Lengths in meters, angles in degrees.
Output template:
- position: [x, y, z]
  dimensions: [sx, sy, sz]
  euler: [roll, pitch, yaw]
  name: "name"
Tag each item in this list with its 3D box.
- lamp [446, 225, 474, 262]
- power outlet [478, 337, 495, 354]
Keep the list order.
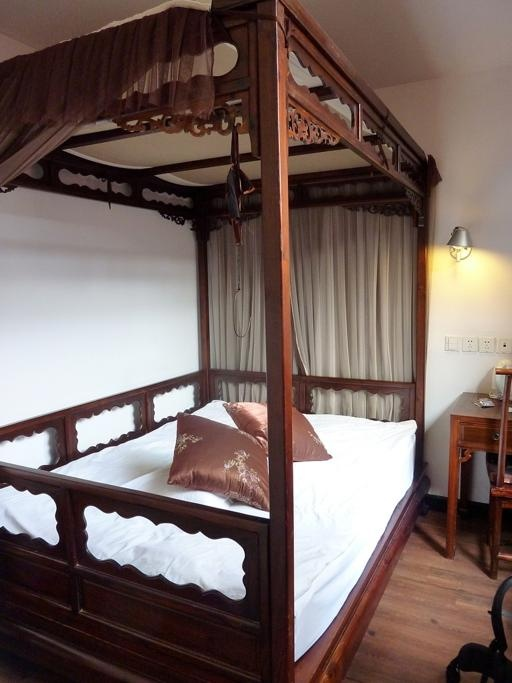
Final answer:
- position: [1.170, -0.567, 2.978]
  dimensions: [0.139, 0.205, 0.201]
  euler: [3, 7, 20]
  name: "lamp"
- position: [1.343, 0.019, 3.019]
  dimensions: [0.094, 0.093, 0.021]
  euler: [4, 7, 23]
  name: "power outlet"
